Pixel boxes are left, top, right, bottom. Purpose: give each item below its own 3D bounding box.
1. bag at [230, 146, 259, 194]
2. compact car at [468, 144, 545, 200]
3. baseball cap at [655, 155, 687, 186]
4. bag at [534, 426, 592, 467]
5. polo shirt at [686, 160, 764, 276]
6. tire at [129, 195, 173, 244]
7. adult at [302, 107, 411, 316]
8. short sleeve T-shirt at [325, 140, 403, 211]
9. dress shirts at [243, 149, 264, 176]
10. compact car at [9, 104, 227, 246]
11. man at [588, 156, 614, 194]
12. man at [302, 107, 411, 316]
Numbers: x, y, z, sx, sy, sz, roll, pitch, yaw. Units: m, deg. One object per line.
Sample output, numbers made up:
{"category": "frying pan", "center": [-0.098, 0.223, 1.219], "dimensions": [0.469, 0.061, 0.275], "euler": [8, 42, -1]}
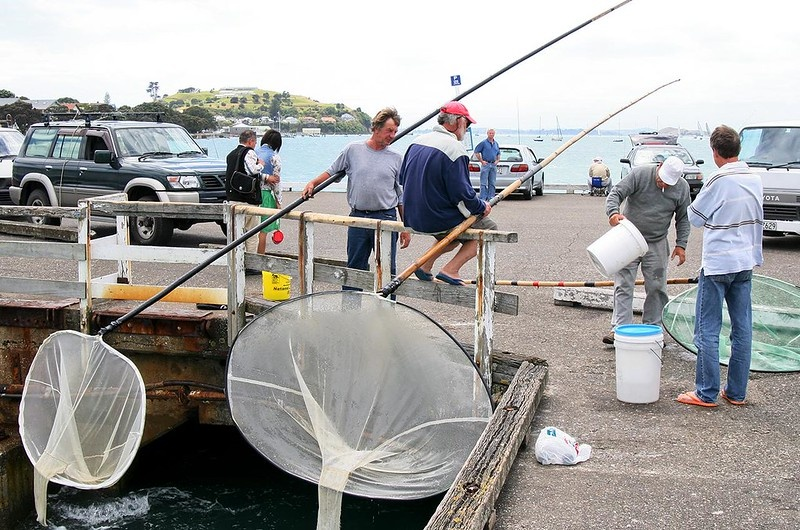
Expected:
{"category": "bag", "center": [-2.080, -1.244, 11.794], "dimensions": [0.286, 0.633, 0.331], "euler": [-4, 10, -40]}
{"category": "compact car", "center": [2.914, -2.454, 23.514], "dimensions": [1.622, 1.153, 3.697], "euler": [1, 7, 13]}
{"category": "baseball cap", "center": [2.856, -1.022, 9.297], "dimensions": [0.238, 0.316, 0.127], "euler": [14, -11, 5]}
{"category": "bag", "center": [1.437, 1.587, 7.751], "dimensions": [0.476, 0.144, 0.498], "euler": [7, 13, 15]}
{"category": "polo shirt", "center": [3.092, -0.445, 8.361], "dimensions": [0.681, 1.084, 0.390], "euler": [5, 8, 18]}
{"category": "tire", "center": [-3.932, -0.656, 13.939], "dimensions": [0.709, 0.652, 0.255], "euler": [-1, 3, 29]}
{"category": "adult", "center": [-0.327, -0.695, 9.481], "dimensions": [1.217, 1.946, 0.961], "euler": [8, 10, 37]}
{"category": "short sleeve T-shirt", "center": [-0.355, -0.936, 9.614], "dimensions": [1.095, 0.741, 0.383], "euler": [11, 7, 4]}
{"category": "dress shirts", "center": [-1.985, -1.368, 11.862], "dimensions": [0.200, 0.304, 0.327], "euler": [-11, 17, -25]}
{"category": "compact car", "center": [-4.807, -1.813, 15.282], "dimensions": [4.213, 1.712, 1.695], "euler": [7, 9, 38]}
{"category": "man", "center": [5.879, -2.625, 26.223], "dimensions": [0.831, 1.153, 0.771], "euler": [-9, 13, -35]}
{"category": "man", "center": [-0.383, -0.691, 9.427], "dimensions": [1.034, 1.946, 1.229], "euler": [0, 8, -20]}
